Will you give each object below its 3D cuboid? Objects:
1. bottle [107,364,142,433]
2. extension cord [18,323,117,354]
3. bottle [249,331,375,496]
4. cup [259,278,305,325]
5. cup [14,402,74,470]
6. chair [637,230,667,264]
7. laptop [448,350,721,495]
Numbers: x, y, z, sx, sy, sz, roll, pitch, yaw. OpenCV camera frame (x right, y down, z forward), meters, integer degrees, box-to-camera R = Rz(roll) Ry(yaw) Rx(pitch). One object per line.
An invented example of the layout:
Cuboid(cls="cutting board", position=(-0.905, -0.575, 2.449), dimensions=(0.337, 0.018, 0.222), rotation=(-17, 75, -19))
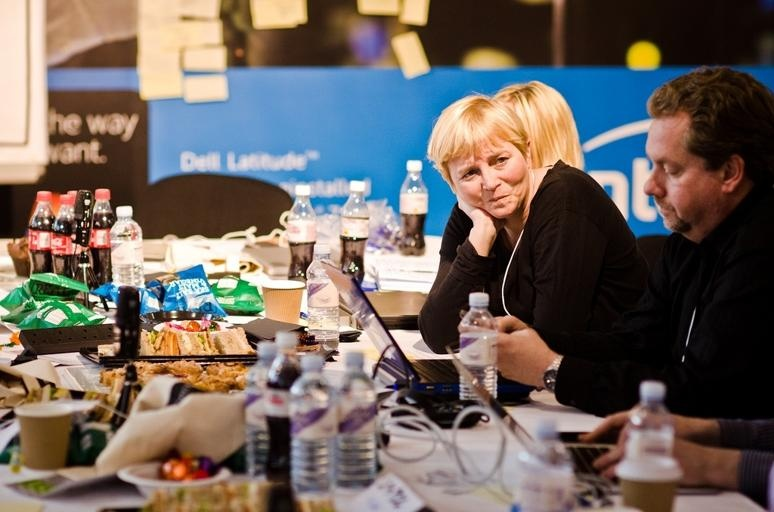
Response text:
Cuboid(cls="bottle", position=(-0.532, 0.276, 1.443), dimensions=(0.047, 0.115, 0.136), rotation=(-2, 6, -4))
Cuboid(cls="extension cord", position=(-0.928, 0.240, 2.065), dimensions=(0.254, 0.065, 0.143), rotation=(-4, 6, -22))
Cuboid(cls="bottle", position=(-0.181, 0.291, 1.318), dimensions=(0.175, 0.301, 0.092), rotation=(-2, 6, -4))
Cuboid(cls="cup", position=(-0.356, 0.158, 2.365), dimensions=(0.178, 0.132, 0.174), rotation=(2, 4, 0))
Cuboid(cls="cup", position=(-0.641, 0.334, 1.355), dimensions=(0.120, 0.096, 0.121), rotation=(1, -4, 0))
Cuboid(cls="chair", position=(1.011, -0.036, 2.660), dimensions=(0.148, 0.113, 0.158), rotation=(1, -5, 0))
Cuboid(cls="laptop", position=(0.359, 0.274, 1.451), dimensions=(0.307, 0.184, 0.327), rotation=(-9, 3, -8))
